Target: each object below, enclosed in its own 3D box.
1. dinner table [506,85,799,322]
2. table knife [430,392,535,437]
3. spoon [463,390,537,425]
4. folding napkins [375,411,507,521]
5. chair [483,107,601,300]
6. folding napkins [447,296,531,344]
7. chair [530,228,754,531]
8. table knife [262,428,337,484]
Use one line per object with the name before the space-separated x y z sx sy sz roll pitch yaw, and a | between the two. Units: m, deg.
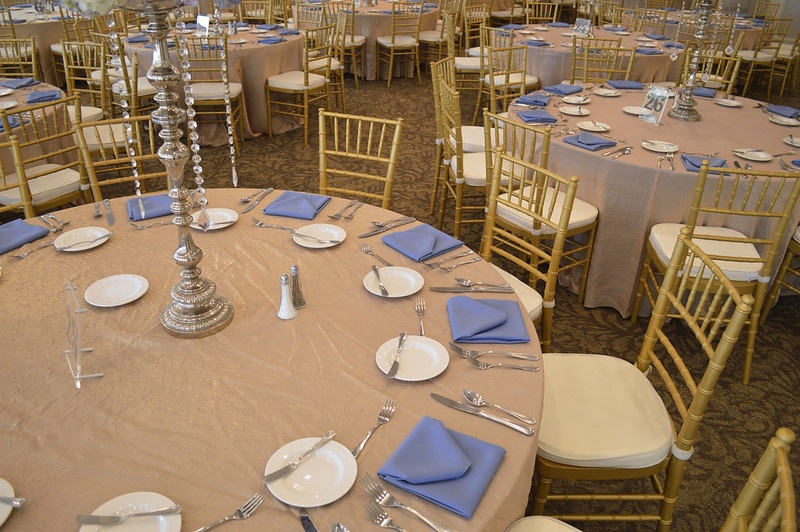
dinner table | 1.644 -0.593 3.882 1.577 0.954 1.527 4 32 2
table knife | 0.274 0.506 1.866 0.339 0.018 0.043 16 67 14
spoon | 0.338 0.486 1.885 0.182 0.025 0.038 18 37 23
folding napkins | 0.130 0.615 1.731 0.280 0.063 0.275 19 42 24
chair | 0.857 -0.361 3.271 0.720 1.160 0.624 10 43 15
folding napkins | 0.339 0.207 2.120 0.212 0.045 0.203 0 37 0
chair | 1.160 0.542 2.594 0.794 1.322 0.728 4 44 8
table knife | -0.320 0.609 1.757 0.193 0.023 0.026 -35 62 -19
